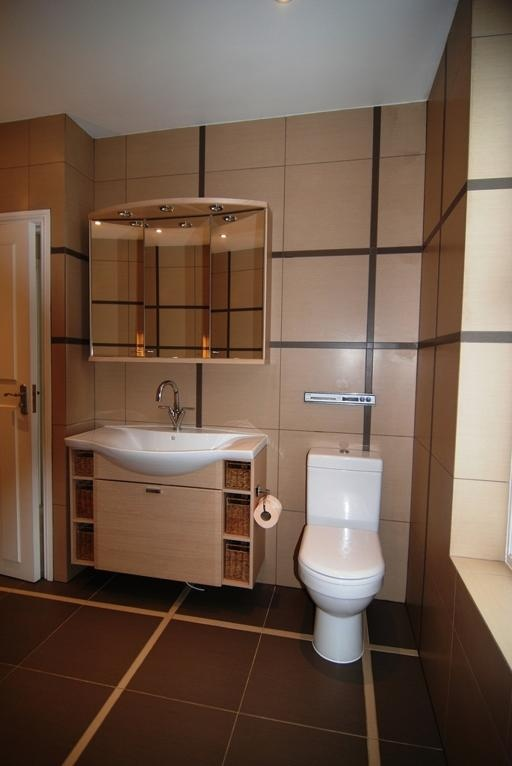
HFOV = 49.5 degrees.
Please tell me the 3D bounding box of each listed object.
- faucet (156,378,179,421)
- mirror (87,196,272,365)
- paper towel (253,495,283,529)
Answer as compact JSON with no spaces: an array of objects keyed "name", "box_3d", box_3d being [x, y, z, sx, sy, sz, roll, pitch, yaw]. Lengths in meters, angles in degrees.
[{"name":"faucet","box_3d":[-0.455,0.091,2.849,0.121,0.218,0.233,-1,8,-11]},{"name":"mirror","box_3d":[-0.339,-0.500,2.666,0.652,0.701,0.232,1,3,11]},{"name":"paper towel","box_3d":[0.052,0.561,2.493,0.116,0.148,0.141,12,10,2]}]
